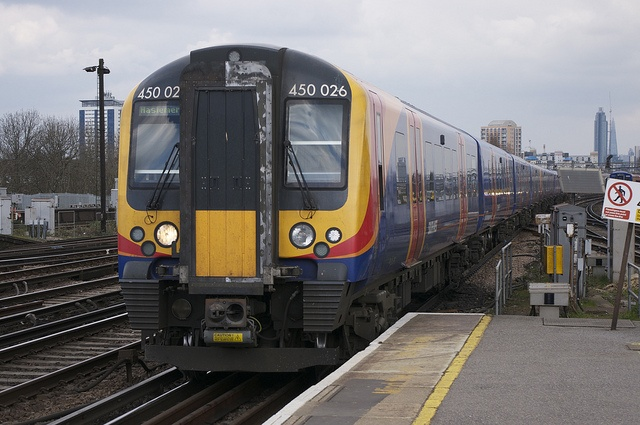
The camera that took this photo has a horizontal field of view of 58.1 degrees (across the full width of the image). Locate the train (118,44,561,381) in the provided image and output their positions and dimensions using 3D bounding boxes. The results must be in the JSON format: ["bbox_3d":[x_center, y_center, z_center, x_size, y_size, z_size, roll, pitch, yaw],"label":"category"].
[{"bbox_3d":[0.417,0.103,10.366,2.857,4.926,7.425,1,2,31],"label":"train"}]
